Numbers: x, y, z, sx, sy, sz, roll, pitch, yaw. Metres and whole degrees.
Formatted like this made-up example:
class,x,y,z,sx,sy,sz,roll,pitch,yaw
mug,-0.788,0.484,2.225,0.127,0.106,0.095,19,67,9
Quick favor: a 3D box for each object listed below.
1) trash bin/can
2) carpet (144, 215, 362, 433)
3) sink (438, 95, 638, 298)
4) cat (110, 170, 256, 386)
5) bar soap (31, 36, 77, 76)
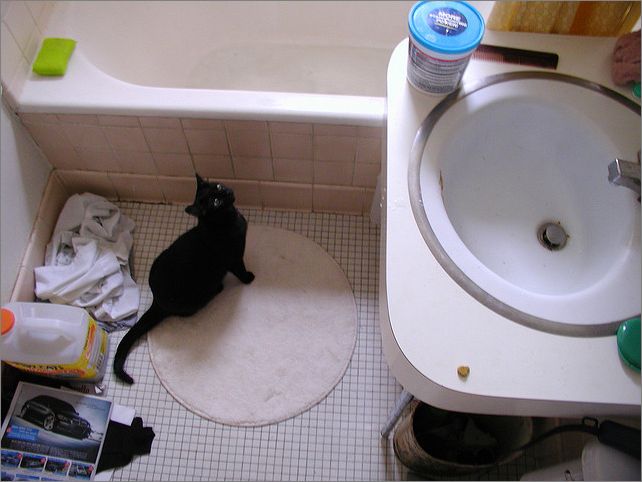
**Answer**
class,x,y,z,sx,sy,sz,roll,pitch,yaw
trash bin/can,0.396,0.617,1.597,0.354,0.269,0.232,2,62,-3
carpet,-0.208,0.304,1.897,0.768,0.484,0.579,18,44,-4
sink,0.510,-0.103,1.284,0.352,0.175,0.331,-1,60,-1
cat,-0.474,0.117,1.709,0.580,0.489,0.168,-39,65,-18
bar soap,-0.842,-0.571,1.740,0.098,0.032,0.160,3,62,-2
